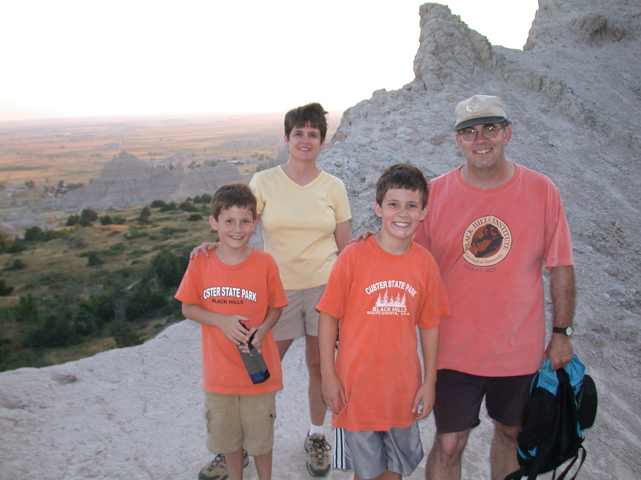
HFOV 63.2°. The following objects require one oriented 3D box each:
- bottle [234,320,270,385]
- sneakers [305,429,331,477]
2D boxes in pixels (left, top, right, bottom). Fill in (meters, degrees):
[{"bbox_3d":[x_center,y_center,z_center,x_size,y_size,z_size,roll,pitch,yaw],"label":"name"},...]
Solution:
[{"bbox_3d":[-0.591,1.013,4.529,0.285,0.517,0.201,5,13,10],"label":"bottle"},{"bbox_3d":[-0.028,2.184,5.275,0.206,0.188,0.446,0,6,-5],"label":"sneakers"}]
